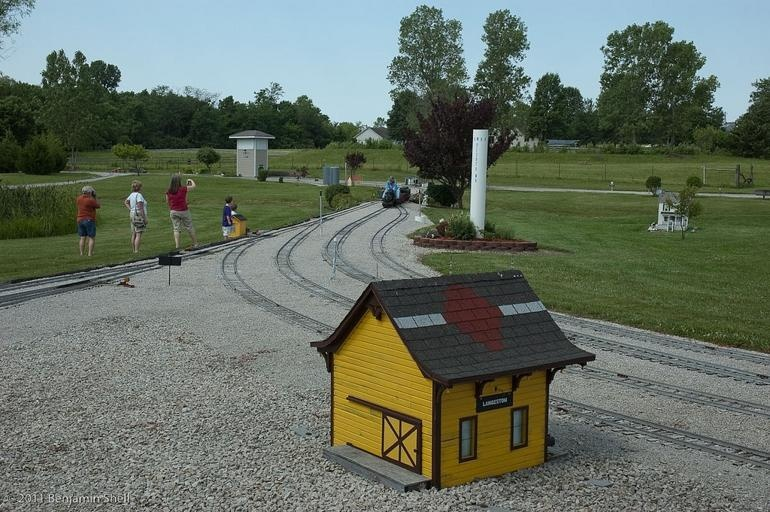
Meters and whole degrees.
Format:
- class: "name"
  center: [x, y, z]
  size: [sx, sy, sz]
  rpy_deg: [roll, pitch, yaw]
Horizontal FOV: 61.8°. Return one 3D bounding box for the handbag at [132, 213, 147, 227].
- class: "handbag"
  center: [-10.047, -1.445, 26.488]
  size: [0.415, 0.550, 0.566]
  rpy_deg: [-2, 7, -32]
